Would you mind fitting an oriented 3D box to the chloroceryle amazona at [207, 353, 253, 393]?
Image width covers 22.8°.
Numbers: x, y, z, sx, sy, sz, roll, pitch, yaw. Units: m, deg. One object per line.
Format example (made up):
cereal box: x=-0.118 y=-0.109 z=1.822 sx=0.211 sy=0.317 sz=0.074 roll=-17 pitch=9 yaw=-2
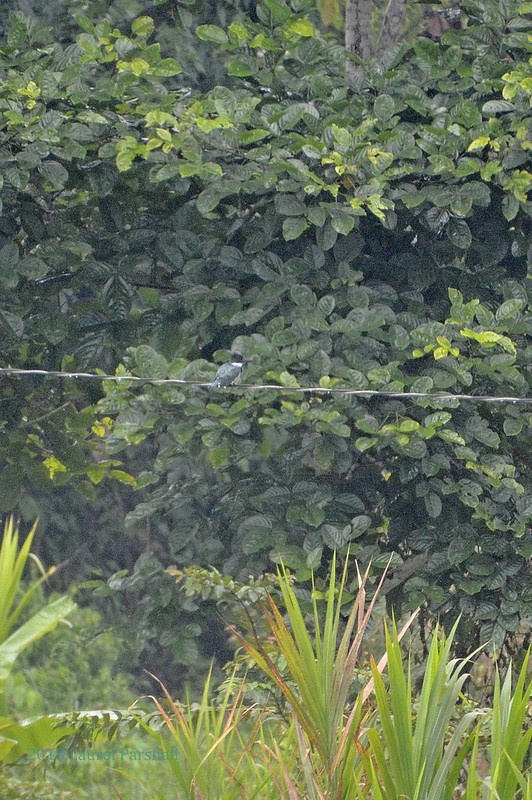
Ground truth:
chloroceryle amazona: x=-0.133 y=-0.090 z=4.619 sx=0.117 sy=0.128 sz=0.216 roll=3 pitch=12 yaw=0
